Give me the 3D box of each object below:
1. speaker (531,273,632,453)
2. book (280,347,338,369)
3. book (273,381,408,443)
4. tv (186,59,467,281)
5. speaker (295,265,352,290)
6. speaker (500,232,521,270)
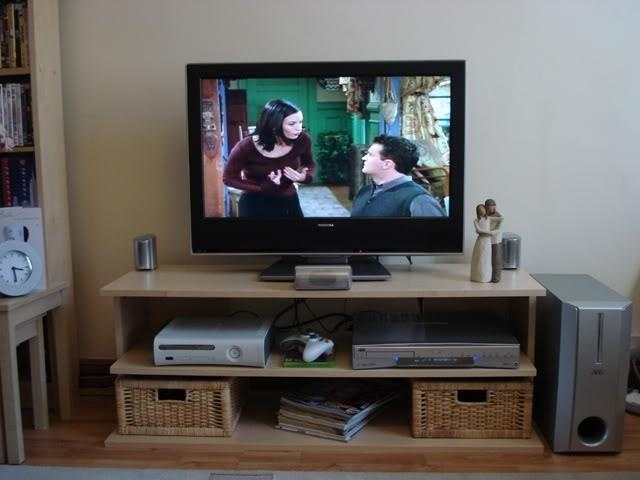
[{"bbox_3d":[1.134,0.539,2.684,0.316,0.688,0.383,0,11,3],"label":"speaker"},{"bbox_3d":[-0.051,0.520,2.672,0.234,0.041,0.131,0,11,1],"label":"book"},{"bbox_3d":[0.102,0.738,2.742,0.300,0.080,0.304,5,11,37],"label":"book"},{"bbox_3d":[0.040,-0.352,2.774,1.025,0.740,0.299,0,4,2],"label":"tv"},{"bbox_3d":[0.012,0.166,2.621,0.235,0.095,0.066,0,11,3],"label":"speaker"},{"bbox_3d":[0.910,0.052,2.888,0.090,0.147,0.173,2,5,21],"label":"speaker"}]
